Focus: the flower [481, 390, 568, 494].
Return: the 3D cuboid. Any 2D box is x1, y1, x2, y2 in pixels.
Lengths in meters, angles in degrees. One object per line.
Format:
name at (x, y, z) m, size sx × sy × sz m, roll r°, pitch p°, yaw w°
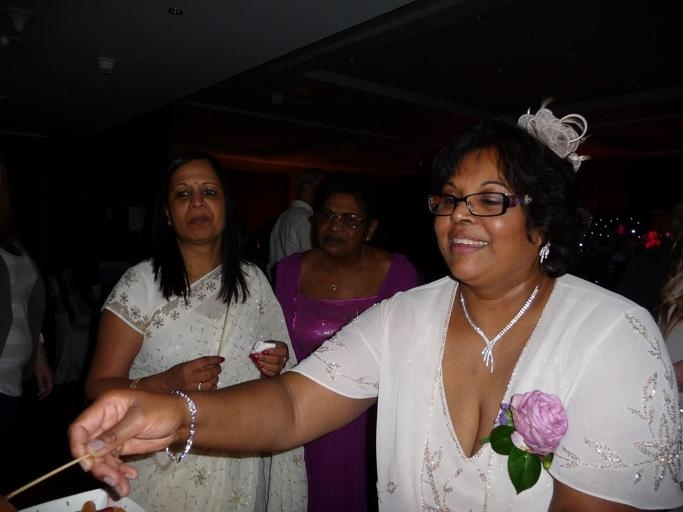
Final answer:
flower at (0.561, 0.538, 1.573) m, size 0.276 × 0.206 × 0.276 m, roll -19°, pitch -2°, yaw 3°
